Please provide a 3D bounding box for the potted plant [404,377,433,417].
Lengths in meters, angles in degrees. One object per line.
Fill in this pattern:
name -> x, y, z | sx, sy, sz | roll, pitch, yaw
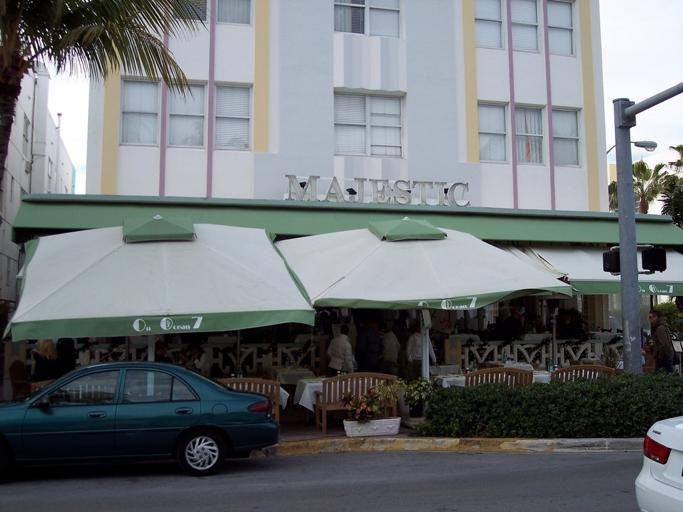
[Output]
potted plant -> 1.671, 3.161, 20.861 | 0.754, 0.859, 0.690 | 2, -9, -7

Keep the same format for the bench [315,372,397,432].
bench -> 0.357, 3.144, 20.032 | 1.171, 0.914, 0.469 | -1, 0, -10

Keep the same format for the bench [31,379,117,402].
bench -> -4.711, 2.395, 16.888 | 1.241, 0.515, 0.245 | -1, 9, -10
